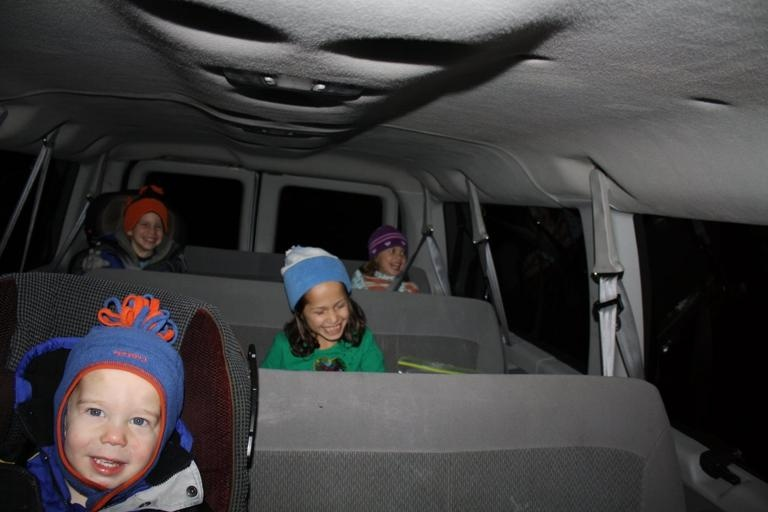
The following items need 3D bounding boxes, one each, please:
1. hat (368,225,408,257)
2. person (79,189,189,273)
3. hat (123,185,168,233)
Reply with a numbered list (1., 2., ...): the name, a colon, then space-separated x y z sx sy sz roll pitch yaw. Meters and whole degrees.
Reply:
1. hat: 0.011 -0.105 4.119 0.221 0.220 0.235 1 -14 -17
2. person: -1.710 -0.237 3.855 0.520 0.500 0.722 1 10 1
3. hat: -1.646 -0.328 3.824 0.230 0.347 0.341 4 -6 -25
